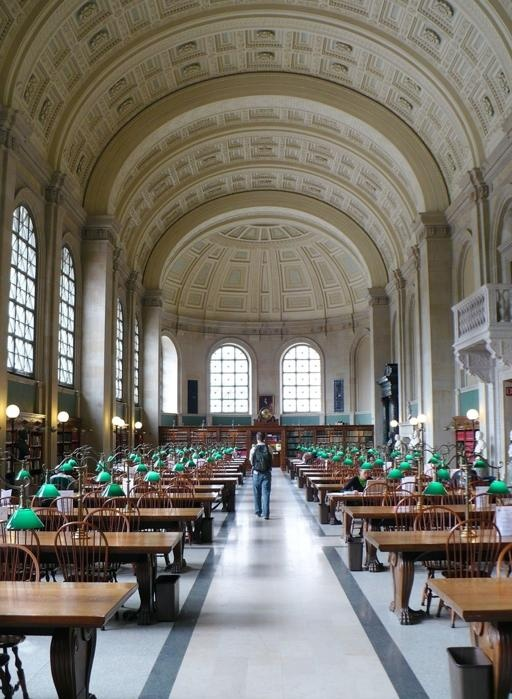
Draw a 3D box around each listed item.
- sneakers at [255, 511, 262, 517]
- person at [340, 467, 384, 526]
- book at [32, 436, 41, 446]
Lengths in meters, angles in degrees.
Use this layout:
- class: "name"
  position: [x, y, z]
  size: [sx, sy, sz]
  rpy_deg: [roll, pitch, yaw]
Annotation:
- class: "sneakers"
  position: [0.058, 3.707, 11.937]
  size: [0.077, 0.104, 0.114]
  rpy_deg: [-1, -2, -2]
- class: "person"
  position: [1.995, 2.371, 9.234]
  size: [0.559, 1.131, 0.634]
  rpy_deg: [2, -1, -15]
- class: "book"
  position: [-5.322, 2.209, 12.866]
  size: [0.181, 0.277, 0.263]
  rpy_deg: [-2, -7, 3]
